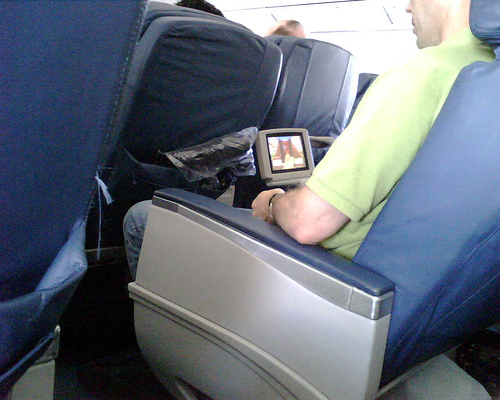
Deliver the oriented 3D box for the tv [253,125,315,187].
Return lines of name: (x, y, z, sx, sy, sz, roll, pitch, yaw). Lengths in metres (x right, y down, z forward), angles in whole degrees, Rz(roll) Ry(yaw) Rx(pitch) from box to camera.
tv: (0.142, -0.199, 1.859, 0.343, 0.262, 0.088, -8, 0, -29)
